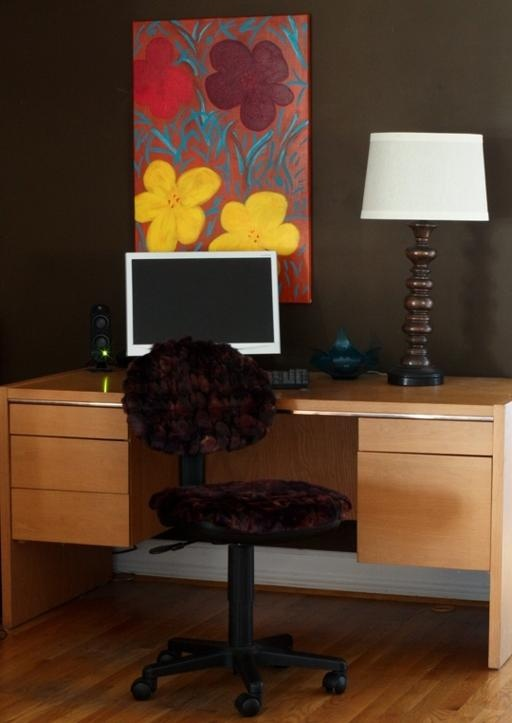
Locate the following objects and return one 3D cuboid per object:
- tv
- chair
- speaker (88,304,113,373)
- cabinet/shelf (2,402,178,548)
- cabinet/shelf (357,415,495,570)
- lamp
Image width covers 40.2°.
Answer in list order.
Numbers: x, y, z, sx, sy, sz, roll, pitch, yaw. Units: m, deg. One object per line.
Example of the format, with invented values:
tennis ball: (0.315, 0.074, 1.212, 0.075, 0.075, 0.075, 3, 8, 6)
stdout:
tv: (-0.161, -0.177, 2.187, 0.380, 0.241, 0.025, -1, -3, 3)
chair: (-0.035, 0.368, 1.743, 0.530, 0.863, 0.637, -3, 4, 5)
speaker: (-0.545, -0.082, 2.465, 0.070, 0.224, 0.057, -4, 5, -6)
cabinet/shelf: (-0.492, 0.330, 2.194, 0.401, 0.377, 0.459, -1, -2, 24)
cabinet/shelf: (0.482, 0.331, 1.944, 0.425, 0.375, 0.452, 0, 0, 5)
lamp: (0.523, -0.302, 2.082, 0.336, 0.738, 0.383, -2, 5, 27)
